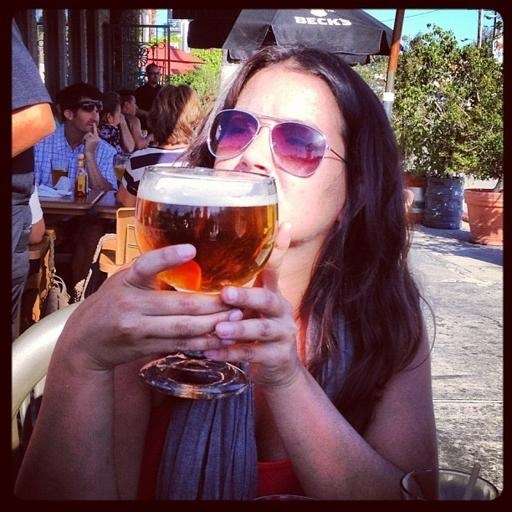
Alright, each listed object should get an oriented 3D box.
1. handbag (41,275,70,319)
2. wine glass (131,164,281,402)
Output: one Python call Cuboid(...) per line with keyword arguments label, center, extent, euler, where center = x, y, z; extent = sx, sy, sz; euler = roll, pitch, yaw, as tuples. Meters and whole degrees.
Cuboid(label="handbag", center=(-1.073, 0.206, 2.369), extent=(0.169, 0.250, 0.060), euler=(-10, -12, 42))
Cuboid(label="wine glass", center=(-0.081, 0.087, 0.716), extent=(0.207, 0.452, 0.339), euler=(-2, 10, -16))
